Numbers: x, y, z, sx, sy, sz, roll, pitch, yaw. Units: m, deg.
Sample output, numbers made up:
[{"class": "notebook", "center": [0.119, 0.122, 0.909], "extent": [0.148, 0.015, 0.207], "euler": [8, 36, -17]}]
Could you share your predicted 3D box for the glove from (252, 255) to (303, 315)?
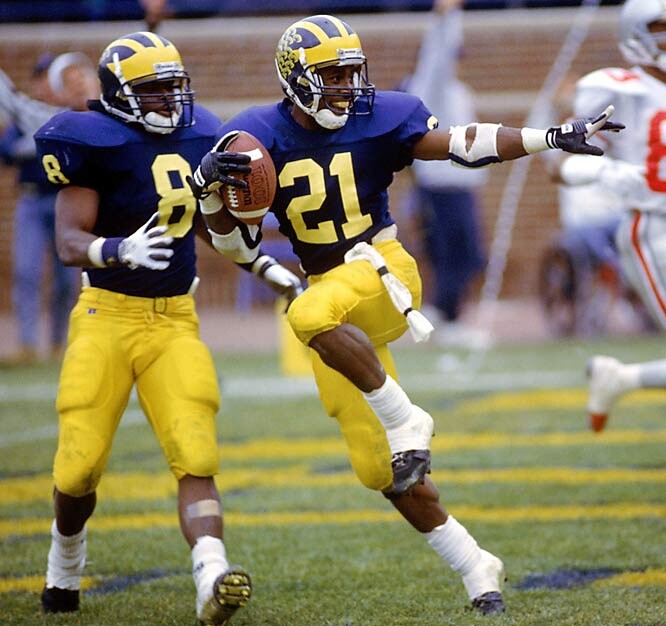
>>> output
[{"class": "glove", "center": [-0.183, -0.094, 3.327], "extent": [0.223, 0.086, 0.130], "euler": [29, -2, 1]}]

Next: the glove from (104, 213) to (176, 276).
[{"class": "glove", "center": [-0.510, -0.171, 2.774], "extent": [0.183, 0.170, 0.048], "euler": [33, -5, 31]}]

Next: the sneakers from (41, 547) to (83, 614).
[{"class": "sneakers", "center": [-0.779, 0.815, 2.987], "extent": [0.107, 0.140, 0.152], "euler": [8, 15, -11]}]

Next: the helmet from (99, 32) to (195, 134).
[{"class": "helmet", "center": [-0.558, -0.690, 2.975], "extent": [0.362, 0.271, 0.267], "euler": [15, 20, 37]}]

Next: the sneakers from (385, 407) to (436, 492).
[{"class": "sneakers", "center": [0.228, 0.377, 2.782], "extent": [0.144, 0.093, 0.266], "euler": [22, 40, 9]}]

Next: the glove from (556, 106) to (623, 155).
[{"class": "glove", "center": [0.743, -0.506, 2.812], "extent": [0.176, 0.137, 0.320], "euler": [0, 5, 22]}]

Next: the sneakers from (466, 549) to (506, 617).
[{"class": "sneakers", "center": [0.443, 0.784, 2.894], "extent": [0.088, 0.067, 0.182], "euler": [5, 49, -9]}]

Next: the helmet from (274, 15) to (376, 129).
[{"class": "helmet", "center": [-0.023, -0.718, 2.949], "extent": [0.281, 0.356, 0.236], "euler": [-2, 5, -3]}]

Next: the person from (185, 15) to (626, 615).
[{"class": "person", "center": [0.119, -0.010, 2.906], "extent": [1.003, 1.755, 0.549], "euler": [-3, 6, -7]}]

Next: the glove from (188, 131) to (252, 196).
[{"class": "glove", "center": [-0.314, -0.389, 2.776], "extent": [0.168, 0.090, 0.070], "euler": [-17, -3, 42]}]

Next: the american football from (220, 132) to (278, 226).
[{"class": "american football", "center": [-0.229, -0.374, 2.792], "extent": [0.167, 0.226, 0.166], "euler": [-12, 15, -11]}]
